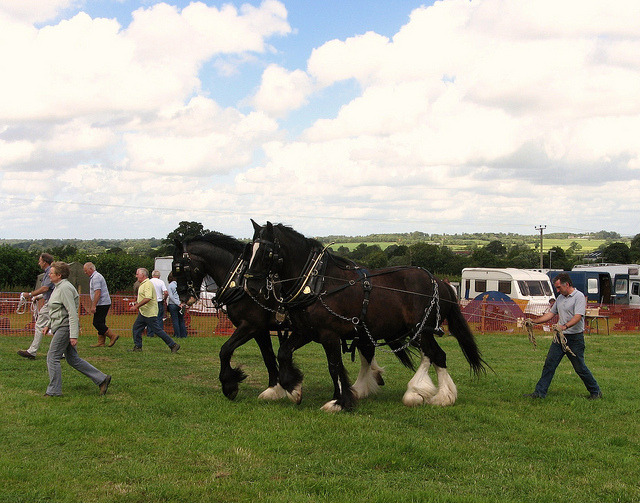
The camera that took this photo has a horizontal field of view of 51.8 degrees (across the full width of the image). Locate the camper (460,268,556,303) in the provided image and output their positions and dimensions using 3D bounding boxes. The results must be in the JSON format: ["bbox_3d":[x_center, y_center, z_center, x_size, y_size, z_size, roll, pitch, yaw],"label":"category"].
[{"bbox_3d":[8.485,1.510,30.918,2.030,1.806,3.521,-1,0,-35],"label":"camper"}]

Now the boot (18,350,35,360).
[{"bbox_3d":[-6.094,2.154,13.840,0.370,0.170,0.134,32,1,-21],"label":"boot"}]

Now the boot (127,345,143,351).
[{"bbox_3d":[-4.453,2.342,15.981,0.343,0.133,0.448,0,5,-18],"label":"boot"}]

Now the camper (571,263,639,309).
[{"bbox_3d":[16.164,2.252,36.825,4.139,2.273,2.995,-2,0,10],"label":"camper"}]

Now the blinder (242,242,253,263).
[{"bbox_3d":[-1.300,0.013,11.963,0.118,0.331,0.239,11,-5,-22],"label":"blinder"}]

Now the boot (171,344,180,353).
[{"bbox_3d":[-3.437,2.340,15.879,0.180,0.261,0.089,28,29,-15],"label":"boot"}]

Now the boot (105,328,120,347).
[{"bbox_3d":[-5.136,2.157,16.415,0.273,0.487,0.689,1,5,-11],"label":"boot"}]

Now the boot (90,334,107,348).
[{"bbox_3d":[-5.461,2.175,16.313,0.359,0.338,0.672,0,5,-20],"label":"boot"}]

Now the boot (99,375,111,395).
[{"bbox_3d":[-3.633,2.272,11.260,0.141,0.337,0.120,14,7,-7],"label":"boot"}]

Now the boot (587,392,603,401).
[{"bbox_3d":[4.908,2.615,11.851,0.347,0.148,0.114,4,-8,-38],"label":"boot"}]

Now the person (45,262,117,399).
[{"bbox_3d":[-4.255,1.323,11.445,1.109,2.418,1.133,11,11,41],"label":"person"}]
